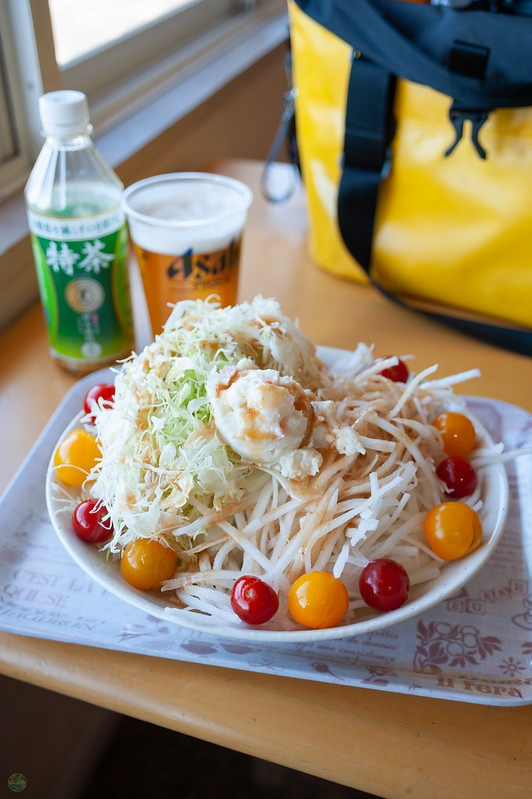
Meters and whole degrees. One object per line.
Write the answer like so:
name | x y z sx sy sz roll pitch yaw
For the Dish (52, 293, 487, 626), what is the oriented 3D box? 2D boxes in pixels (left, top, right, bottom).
Dish | -0.001 0.060 0.592 0.333 0.156 0.304 3 47 0

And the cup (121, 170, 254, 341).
cup | -0.094 -0.166 0.869 0.146 0.183 0.134 0 36 0
